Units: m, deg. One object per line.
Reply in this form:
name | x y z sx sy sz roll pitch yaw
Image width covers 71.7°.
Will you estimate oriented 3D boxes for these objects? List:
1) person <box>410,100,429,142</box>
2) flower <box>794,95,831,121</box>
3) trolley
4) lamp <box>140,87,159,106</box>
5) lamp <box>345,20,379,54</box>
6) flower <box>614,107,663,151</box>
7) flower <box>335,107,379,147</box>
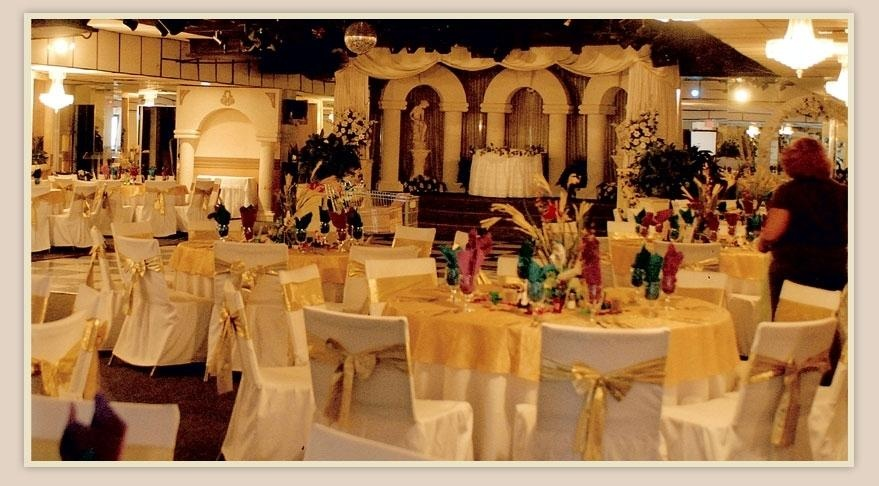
person | -0.568 -3.440 17.381 0.506 1.307 0.190 1 7 -5
flower | 9.433 -3.445 15.388 0.722 0.548 0.176 5 8 27
trolley | -0.946 -0.605 11.931 2.090 0.850 1.280 2 8 19
lamp | -8.441 -4.270 17.723 0.594 0.508 0.511 0 2 2
lamp | -1.212 -3.275 9.495 0.443 0.501 0.479 2 6 1
flower | 4.238 -2.430 12.953 0.894 0.786 0.301 -16 13 19
flower | -2.109 -2.854 15.012 0.938 1.006 0.785 1 7 -7
